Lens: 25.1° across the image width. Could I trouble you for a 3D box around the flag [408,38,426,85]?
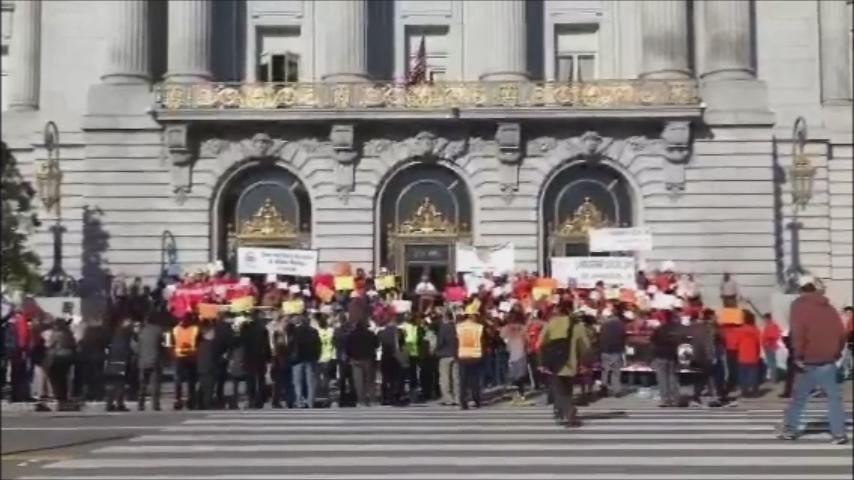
[{"bbox_3d":[-0.419,-8.116,86.805,0.828,2.466,1.355,-3,-10,-1],"label":"flag"}]
